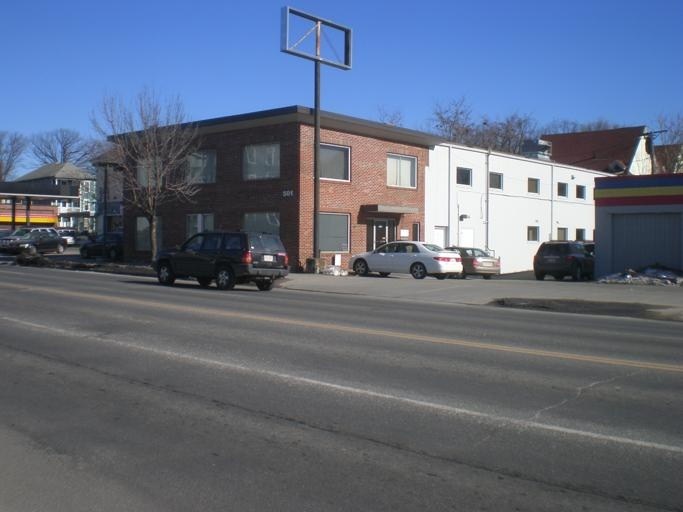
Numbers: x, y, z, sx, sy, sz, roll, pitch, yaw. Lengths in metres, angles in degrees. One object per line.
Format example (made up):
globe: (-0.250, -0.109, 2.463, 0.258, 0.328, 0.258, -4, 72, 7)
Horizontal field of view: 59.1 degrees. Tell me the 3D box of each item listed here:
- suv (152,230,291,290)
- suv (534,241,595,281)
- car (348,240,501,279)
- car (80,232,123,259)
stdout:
suv: (-4.500, 0.109, 21.937, 5.237, 2.127, 1.882, 3, 5, 31)
suv: (11.168, 0.136, 29.441, 1.485, 1.310, 3.141, 0, 2, 37)
car: (3.689, 0.181, 27.816, 6.333, 1.756, 3.421, 1, 4, 1)
car: (-16.242, -0.738, 41.338, 2.104, 1.794, 3.748, -3, 5, -40)
